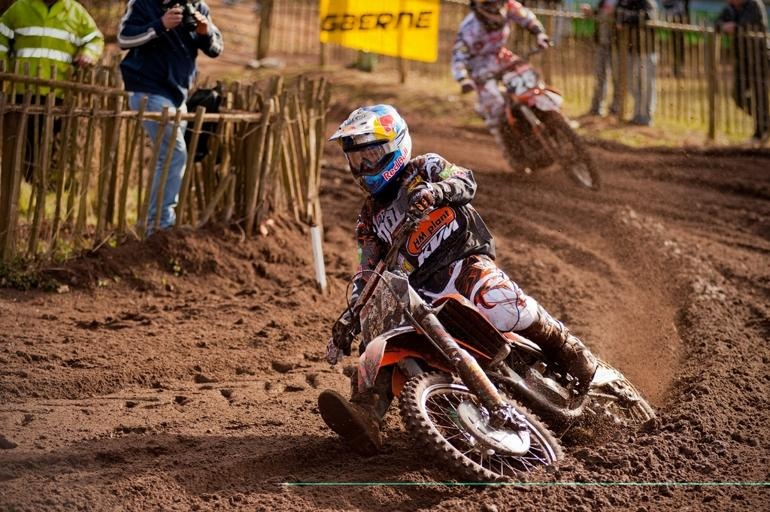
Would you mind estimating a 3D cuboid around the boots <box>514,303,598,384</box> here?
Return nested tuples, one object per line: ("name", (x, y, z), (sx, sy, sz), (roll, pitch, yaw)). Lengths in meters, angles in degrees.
("boots", (1.734, 0.865, 9.940), (0.936, 0.392, 0.542), (40, 15, -7))

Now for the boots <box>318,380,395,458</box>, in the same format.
("boots", (-0.273, 1.397, 9.430), (0.676, 0.657, 0.300), (21, -8, -23))

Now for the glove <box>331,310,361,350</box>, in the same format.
("glove", (-0.374, 0.706, 9.751), (0.268, 0.447, 0.209), (10, -5, -28))

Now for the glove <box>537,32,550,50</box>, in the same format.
("glove", (2.235, -2.971, 13.940), (0.171, 0.217, 0.385), (3, 7, 9))

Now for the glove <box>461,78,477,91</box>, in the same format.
("glove", (1.197, -2.422, 14.138), (0.227, 0.214, 0.133), (0, 12, 6))

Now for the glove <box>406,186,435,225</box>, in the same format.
("glove", (0.348, -0.485, 9.321), (0.226, 0.358, 0.181), (3, 7, 9))
